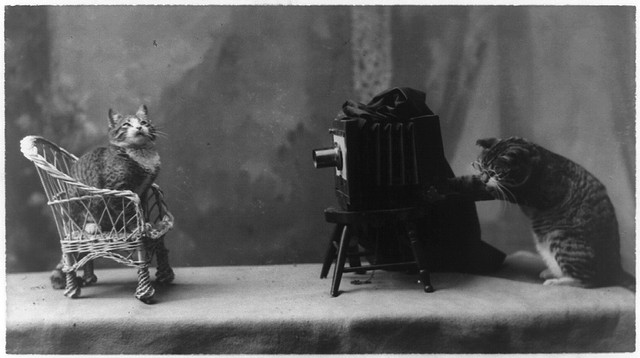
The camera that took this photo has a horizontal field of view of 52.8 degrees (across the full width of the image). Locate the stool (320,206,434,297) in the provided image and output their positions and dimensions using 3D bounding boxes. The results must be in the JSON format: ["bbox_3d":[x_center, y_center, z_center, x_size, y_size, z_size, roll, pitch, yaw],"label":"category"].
[{"bbox_3d":[0.463,0.662,5.854,0.865,0.633,0.901,-1,-9,-11],"label":"stool"}]

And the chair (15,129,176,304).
[{"bbox_3d":[-1.980,0.314,5.872,1.222,1.577,0.726,-5,6,-7],"label":"chair"}]
